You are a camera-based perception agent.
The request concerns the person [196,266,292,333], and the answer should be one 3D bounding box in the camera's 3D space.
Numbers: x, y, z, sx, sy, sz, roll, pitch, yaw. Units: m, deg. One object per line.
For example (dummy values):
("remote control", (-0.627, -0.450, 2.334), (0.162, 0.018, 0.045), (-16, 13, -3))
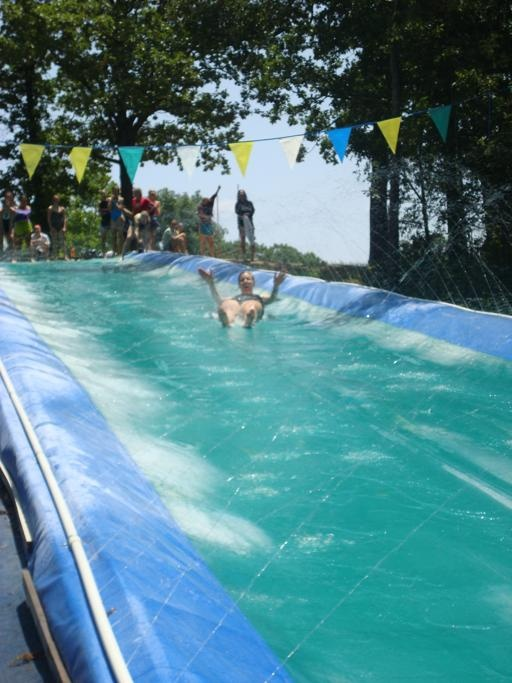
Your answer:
("person", (-0.212, -0.466, 6.194), (0.541, 0.555, 0.851), (1, 14, 4))
